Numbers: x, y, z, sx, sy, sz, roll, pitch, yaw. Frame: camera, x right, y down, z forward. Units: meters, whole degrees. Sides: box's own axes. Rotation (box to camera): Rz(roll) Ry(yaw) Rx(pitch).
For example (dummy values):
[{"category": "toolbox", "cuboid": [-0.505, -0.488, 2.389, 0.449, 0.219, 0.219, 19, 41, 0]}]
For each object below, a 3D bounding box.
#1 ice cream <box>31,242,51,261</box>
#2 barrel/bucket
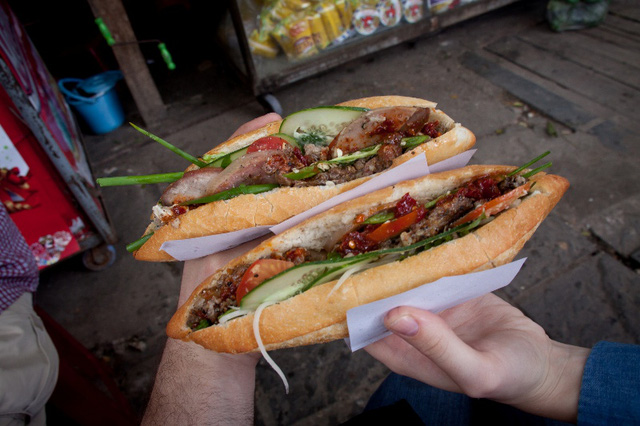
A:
[{"category": "ice cream", "cuboid": [-3.268, 0.436, 5.484, 0.142, 0.215, 0.083, -35, 58, -19]}, {"category": "barrel/bucket", "cuboid": [-3.576, -1.793, 7.686, 0.866, 0.885, 0.473, -36, 58, -20]}]
